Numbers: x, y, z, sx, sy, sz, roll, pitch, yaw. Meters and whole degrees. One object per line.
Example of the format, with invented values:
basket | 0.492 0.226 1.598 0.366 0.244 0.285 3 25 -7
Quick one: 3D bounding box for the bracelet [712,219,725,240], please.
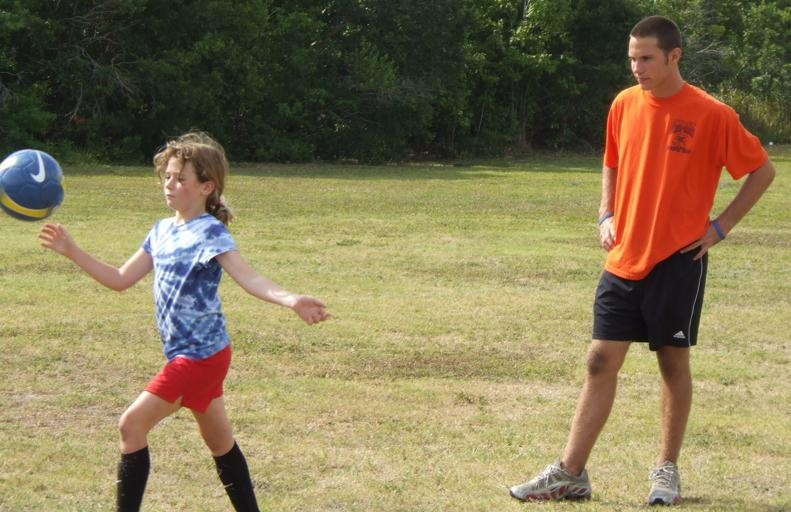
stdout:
bracelet | 3.179 -0.265 10.326 0.047 0.178 0.173 -24 12 -12
